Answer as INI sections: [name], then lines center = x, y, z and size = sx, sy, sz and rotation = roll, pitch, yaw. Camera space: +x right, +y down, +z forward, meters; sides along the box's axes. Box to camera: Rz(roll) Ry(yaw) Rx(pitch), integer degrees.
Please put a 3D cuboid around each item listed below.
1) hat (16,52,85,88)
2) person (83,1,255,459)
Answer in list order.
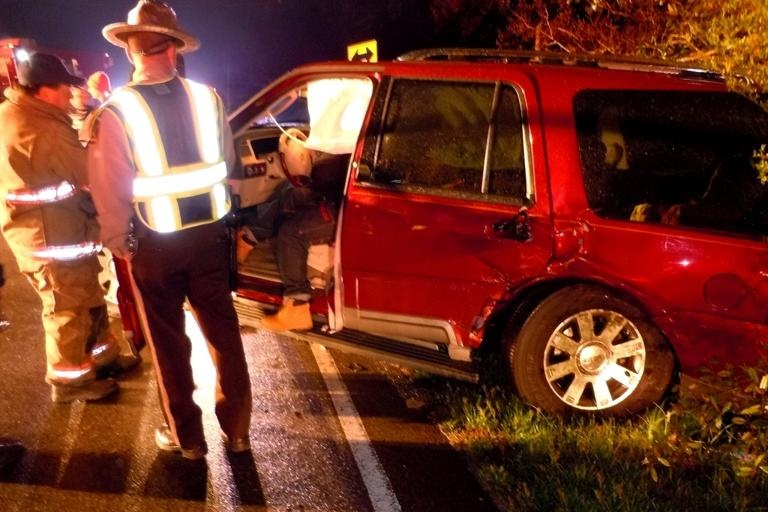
[hat]
center = -2.459, -1.404, 4.399
size = 0.413, 0.208, 0.266
rotation = -11, 24, -25
[person]
center = -1.382, -0.088, 3.912
size = 1.008, 3.001, 0.542
rotation = 0, 15, -21
